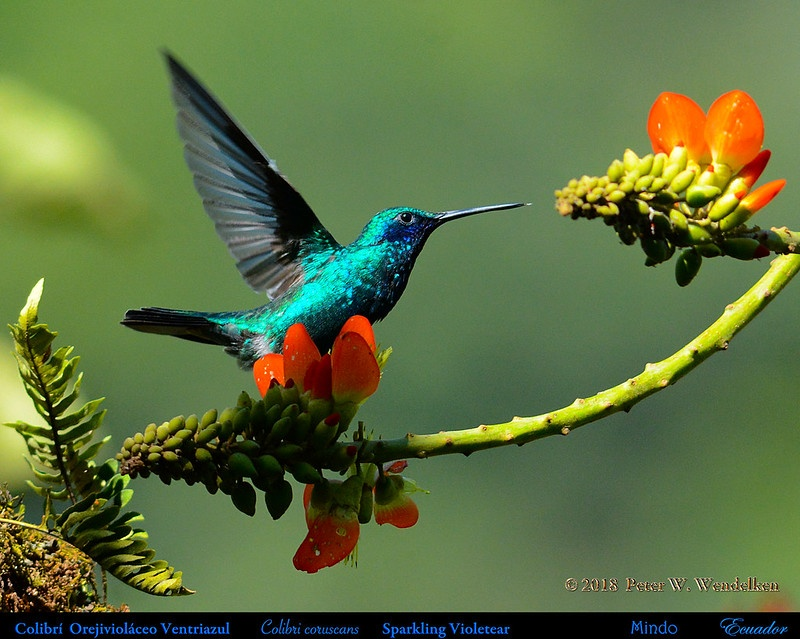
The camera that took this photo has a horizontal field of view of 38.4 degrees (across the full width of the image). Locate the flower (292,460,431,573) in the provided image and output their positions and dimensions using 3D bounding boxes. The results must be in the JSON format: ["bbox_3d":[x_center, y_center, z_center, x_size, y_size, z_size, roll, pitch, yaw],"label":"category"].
[{"bbox_3d":[-0.044,0.205,1.201,0.100,0.124,0.151,-10,-26,27],"label":"flower"}]

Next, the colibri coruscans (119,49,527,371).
[{"bbox_3d":[-0.179,-0.141,1.861,0.548,0.504,0.463,-4,-4,-16],"label":"colibri coruscans"}]

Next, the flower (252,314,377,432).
[{"bbox_3d":[-0.074,0.057,1.162,0.085,0.071,0.102,-5,8,-36],"label":"flower"}]

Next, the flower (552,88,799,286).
[{"bbox_3d":[0.301,-0.131,1.189,0.258,0.171,0.151,-13,-9,-13],"label":"flower"}]
